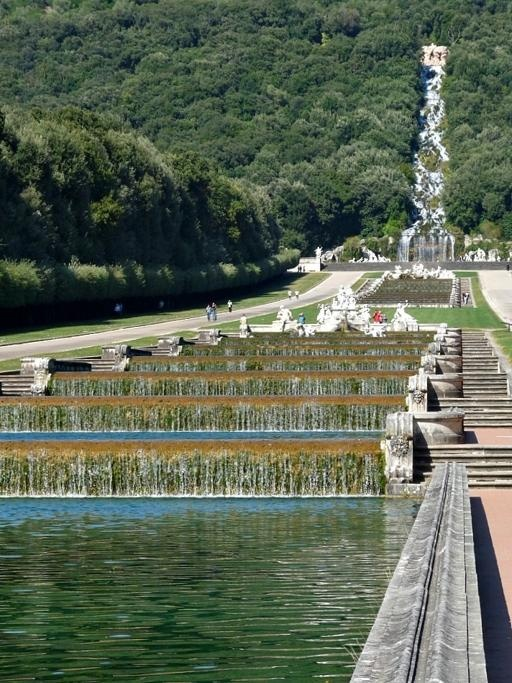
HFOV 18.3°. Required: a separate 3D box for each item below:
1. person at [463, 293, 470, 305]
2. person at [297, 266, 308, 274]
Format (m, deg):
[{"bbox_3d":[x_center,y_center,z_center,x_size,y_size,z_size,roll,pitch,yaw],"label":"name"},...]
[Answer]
[{"bbox_3d":[11.820,-2.449,89.969,0.368,0.903,0.456,11,33,26],"label":"person"},{"bbox_3d":[4.016,-6.379,139.799,0.825,0.865,0.204,-3,-11,-21],"label":"person"}]
